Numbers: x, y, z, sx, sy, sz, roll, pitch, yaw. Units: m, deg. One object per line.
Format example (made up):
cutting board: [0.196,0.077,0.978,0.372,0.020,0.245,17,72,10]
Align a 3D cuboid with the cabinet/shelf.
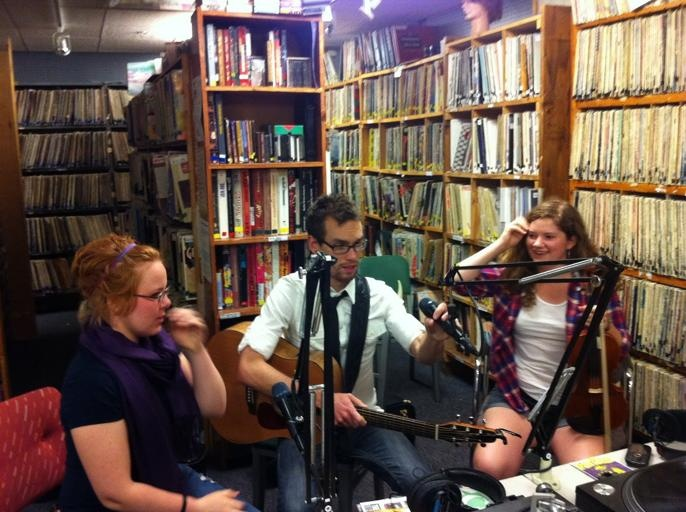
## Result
cabinet/shelf: [-0.014,-0.750,4.644,3.745,1.704,3.969,-1,5,-11]

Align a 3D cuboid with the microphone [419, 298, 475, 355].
microphone: [0.306,0.196,1.547,0.101,0.124,0.271,-2,7,-16]

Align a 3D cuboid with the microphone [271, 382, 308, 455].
microphone: [-0.158,0.474,1.580,0.064,0.227,0.056,-30,-16,26]

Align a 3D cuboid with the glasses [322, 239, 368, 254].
glasses: [0.011,-0.042,2.313,0.189,0.060,0.080,-1,7,-8]
